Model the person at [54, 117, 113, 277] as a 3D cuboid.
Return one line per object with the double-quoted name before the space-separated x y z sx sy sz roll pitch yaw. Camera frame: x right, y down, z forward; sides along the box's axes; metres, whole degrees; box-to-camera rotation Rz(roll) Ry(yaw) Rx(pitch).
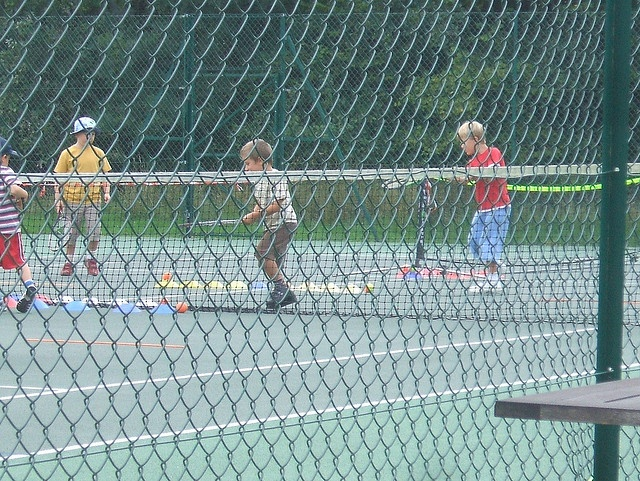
"person" -1.393 -0.257 7.179 0.267 1.048 0.255 2 28 -9
